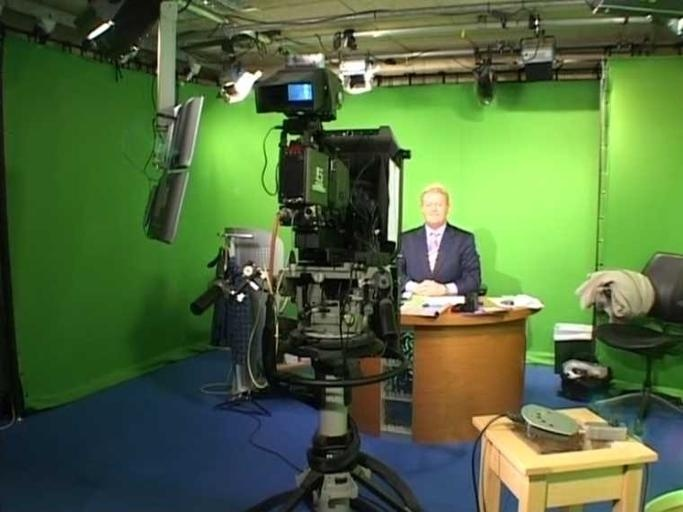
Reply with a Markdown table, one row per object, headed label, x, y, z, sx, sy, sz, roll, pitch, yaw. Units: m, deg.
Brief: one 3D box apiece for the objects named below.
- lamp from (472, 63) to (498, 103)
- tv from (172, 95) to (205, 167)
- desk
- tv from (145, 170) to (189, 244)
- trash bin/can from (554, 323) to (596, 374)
| label | x | y | z | sx | sy | sz | roll | pitch | yaw |
| --- | --- | --- | --- | --- | --- | --- | --- | --- | --- |
| lamp | 1.487 | -1.788 | 6.341 | 0.188 | 0.350 | 0.521 | 2 | 5 | 15 |
| tv | -1.226 | -0.981 | 4.873 | 0.260 | 0.573 | 0.216 | 1 | 4 | 2 |
| desk | 0.794 | 0.822 | 4.886 | 1.084 | 0.715 | 1.070 | -1 | 1 | -7 |
| tv | -1.376 | -0.402 | 4.984 | 0.339 | 0.586 | 0.132 | 5 | 2 | 2 |
| trash bin/can | 2.273 | 0.947 | 6.013 | 0.253 | 0.356 | 0.352 | -1 | 2 | 33 |
